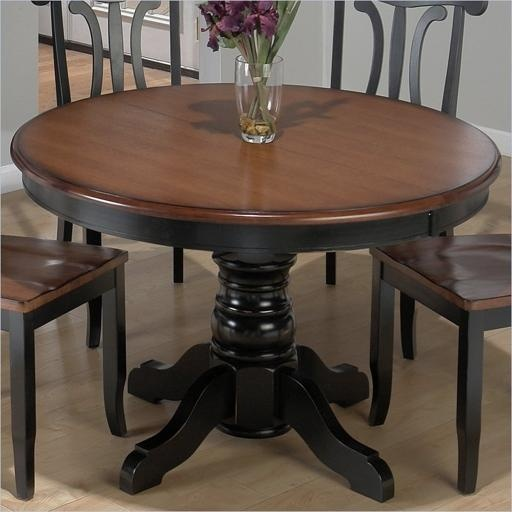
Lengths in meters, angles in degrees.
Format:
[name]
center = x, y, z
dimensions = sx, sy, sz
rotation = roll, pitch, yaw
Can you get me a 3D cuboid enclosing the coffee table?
[coffee table]
center = -0.048, 0.099, 1.492
dimensions = 1.143, 0.696, 1.036
rotation = -4, 23, -12
